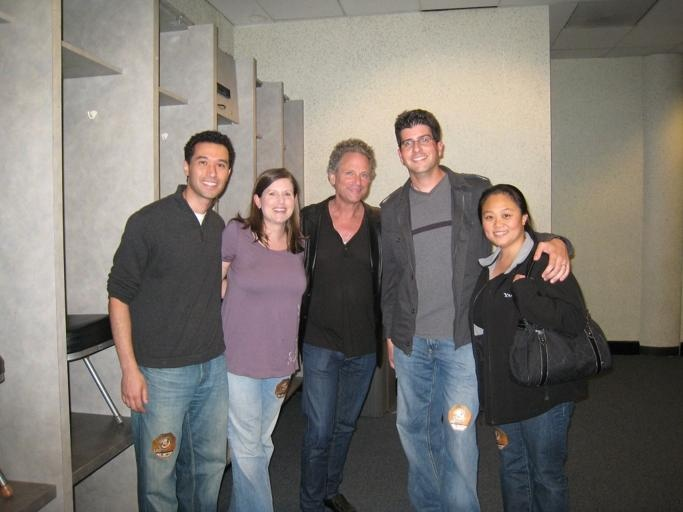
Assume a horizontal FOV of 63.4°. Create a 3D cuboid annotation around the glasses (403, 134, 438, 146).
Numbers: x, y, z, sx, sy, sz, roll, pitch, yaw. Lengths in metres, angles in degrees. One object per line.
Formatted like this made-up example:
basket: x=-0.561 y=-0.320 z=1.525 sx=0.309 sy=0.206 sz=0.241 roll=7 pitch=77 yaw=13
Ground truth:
glasses: x=0.436 y=-0.640 z=3.081 sx=0.190 sy=0.061 sz=0.056 roll=0 pitch=5 yaw=6
